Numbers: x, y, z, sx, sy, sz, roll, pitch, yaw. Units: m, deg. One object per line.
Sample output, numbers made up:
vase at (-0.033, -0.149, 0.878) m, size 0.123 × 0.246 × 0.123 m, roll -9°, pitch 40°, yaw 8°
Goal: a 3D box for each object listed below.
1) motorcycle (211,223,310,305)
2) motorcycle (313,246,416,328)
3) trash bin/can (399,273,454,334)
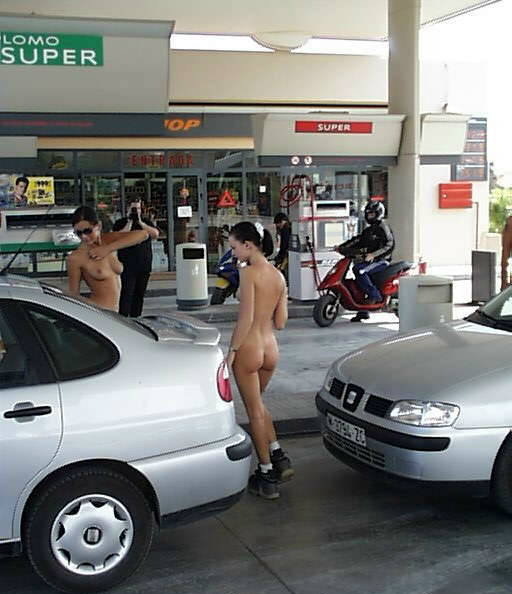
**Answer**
motorcycle at (-0.135, -0.675, 11.350) m, size 2.390 × 1.443 × 1.111 m, roll -12°, pitch 4°, yaw -39°
motorcycle at (2.313, -0.338, 10.820) m, size 2.900 × 1.543 × 1.138 m, roll -6°, pitch 8°, yaw -29°
trash bin/can at (2.166, 0.148, 6.540) m, size 0.593 × 0.867 × 0.518 m, roll -4°, pitch 3°, yaw -15°
